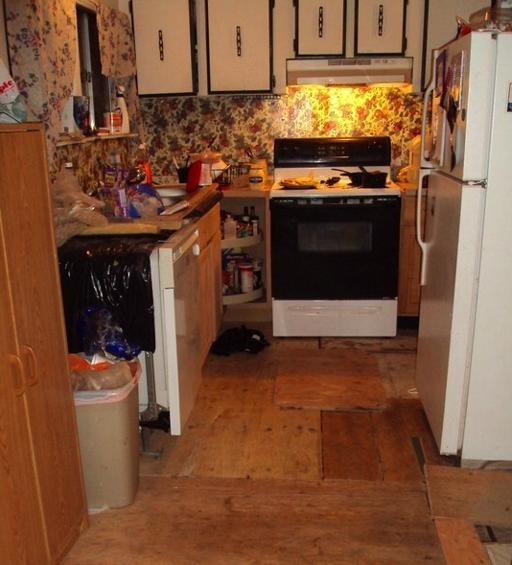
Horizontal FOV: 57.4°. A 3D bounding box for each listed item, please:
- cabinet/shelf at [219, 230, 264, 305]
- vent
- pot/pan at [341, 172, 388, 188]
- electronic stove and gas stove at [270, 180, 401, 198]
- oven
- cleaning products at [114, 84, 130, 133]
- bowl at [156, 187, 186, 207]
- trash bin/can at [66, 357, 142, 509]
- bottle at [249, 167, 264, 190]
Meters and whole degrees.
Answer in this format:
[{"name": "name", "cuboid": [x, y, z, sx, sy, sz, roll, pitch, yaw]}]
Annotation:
[{"name": "cabinet/shelf", "cuboid": [-0.077, -0.133, 3.549, 0.431, 0.505, 0.432, -8, 19, -19]}, {"name": "vent", "cuboid": [0.634, -1.466, 3.229, 0.861, 0.186, 0.076, 0, 12, 3]}, {"name": "pot/pan", "cuboid": [0.735, -0.693, 3.109, 0.171, 0.084, 0.137, -1, 17, 2]}, {"name": "electronic stove and gas stove", "cuboid": [0.508, -0.626, 3.123, 0.830, 0.088, 0.298, 0, 13, 4]}, {"name": "oven", "cuboid": [0.520, -0.094, 3.506, 0.929, 1.327, 0.839, 0, 7, 5]}, {"name": "cleaning products", "cuboid": [-0.855, -1.122, 2.983, 0.059, 0.261, 0.061, 7, 15, 16]}, {"name": "bowl", "cuboid": [-0.532, -0.525, 2.917, 0.146, 0.077, 0.200, -1, 3, -5]}, {"name": "trash bin/can", "cuboid": [-0.526, 0.530, 1.656, 0.261, 0.384, 0.328, 1, 10, -23]}, {"name": "bottle", "cuboid": [-0.001, -0.763, 3.384, 0.103, 0.152, 0.136, -1, 13, 0]}]
